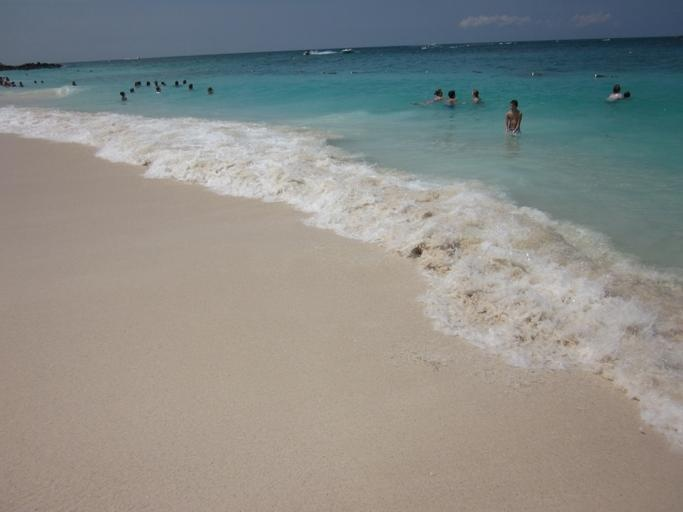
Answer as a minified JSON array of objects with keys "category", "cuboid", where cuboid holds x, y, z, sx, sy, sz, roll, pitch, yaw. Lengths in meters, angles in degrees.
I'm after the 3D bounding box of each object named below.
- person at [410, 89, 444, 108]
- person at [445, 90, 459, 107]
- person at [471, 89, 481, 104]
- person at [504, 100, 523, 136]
[{"category":"person","cuboid":[3.376,-6.084,19.667,1.249,0.538,1.528,2,29,8]},{"category":"person","cuboid":[4.104,-5.898,18.969,0.427,0.570,1.329,3,29,11]},{"category":"person","cuboid":[5.163,-6.071,19.344,0.285,0.545,0.900,7,30,16]},{"category":"person","cuboid":[4.953,-4.022,14.515,0.411,1.029,1.291,7,31,17]}]
